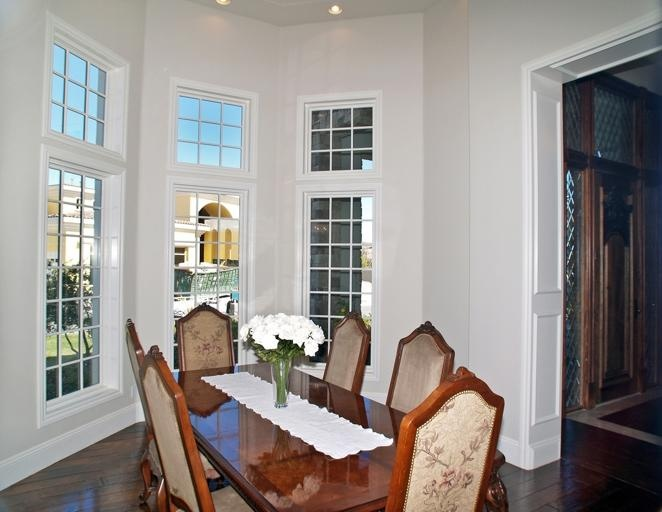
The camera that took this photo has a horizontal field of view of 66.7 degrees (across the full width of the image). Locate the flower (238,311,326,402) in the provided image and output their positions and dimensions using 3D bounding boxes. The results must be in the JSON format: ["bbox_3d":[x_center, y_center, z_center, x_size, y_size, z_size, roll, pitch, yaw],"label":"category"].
[{"bbox_3d":[-0.393,0.739,3.569,0.584,0.620,0.590,-1,-7,-21],"label":"flower"}]
